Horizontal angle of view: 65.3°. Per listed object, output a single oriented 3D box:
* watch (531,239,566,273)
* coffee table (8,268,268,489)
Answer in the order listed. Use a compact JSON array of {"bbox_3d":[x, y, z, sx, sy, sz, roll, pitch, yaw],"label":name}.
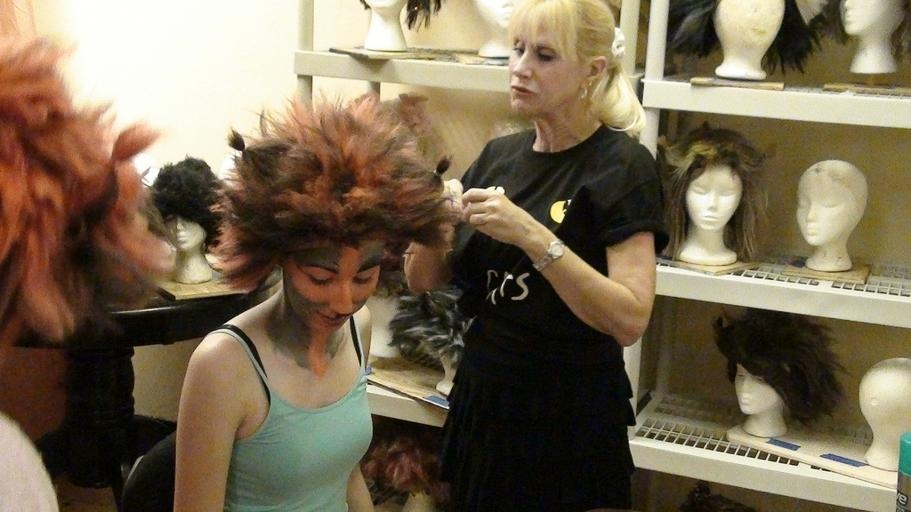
[{"bbox_3d":[0.204,0.006,1.626,0.035,0.057,0.059,29,20,11],"label":"watch"},{"bbox_3d":[-0.565,0.208,1.147,0.436,0.300,0.440,-3,0,-30],"label":"coffee table"}]
